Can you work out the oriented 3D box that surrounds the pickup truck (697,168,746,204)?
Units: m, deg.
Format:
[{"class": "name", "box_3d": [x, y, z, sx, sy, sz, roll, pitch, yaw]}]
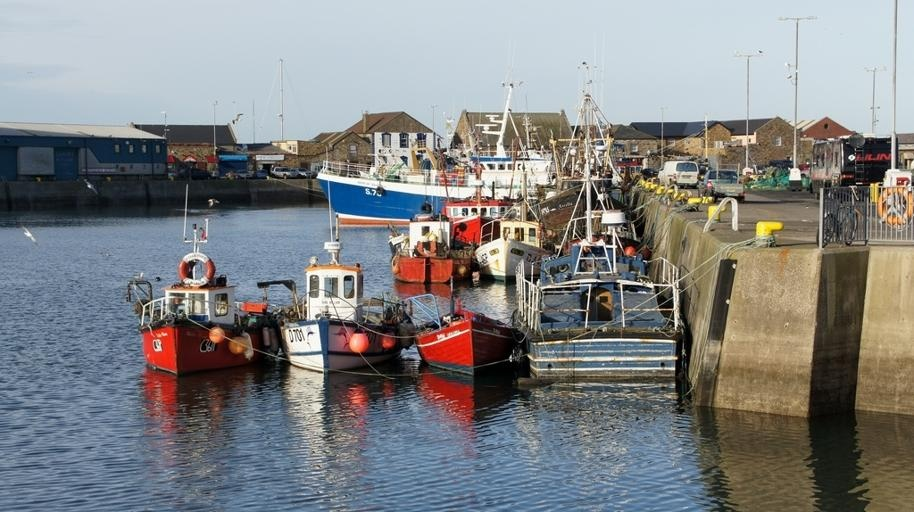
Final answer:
[{"class": "pickup truck", "box_3d": [13.705, -3.500, 61.451, 1.973, 1.531, 4.605, 0, 8, 6]}]

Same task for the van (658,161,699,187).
[{"class": "van", "box_3d": [13.149, -4.832, 70.531, 1.780, 1.375, 3.601, 1, 10, 0]}]
